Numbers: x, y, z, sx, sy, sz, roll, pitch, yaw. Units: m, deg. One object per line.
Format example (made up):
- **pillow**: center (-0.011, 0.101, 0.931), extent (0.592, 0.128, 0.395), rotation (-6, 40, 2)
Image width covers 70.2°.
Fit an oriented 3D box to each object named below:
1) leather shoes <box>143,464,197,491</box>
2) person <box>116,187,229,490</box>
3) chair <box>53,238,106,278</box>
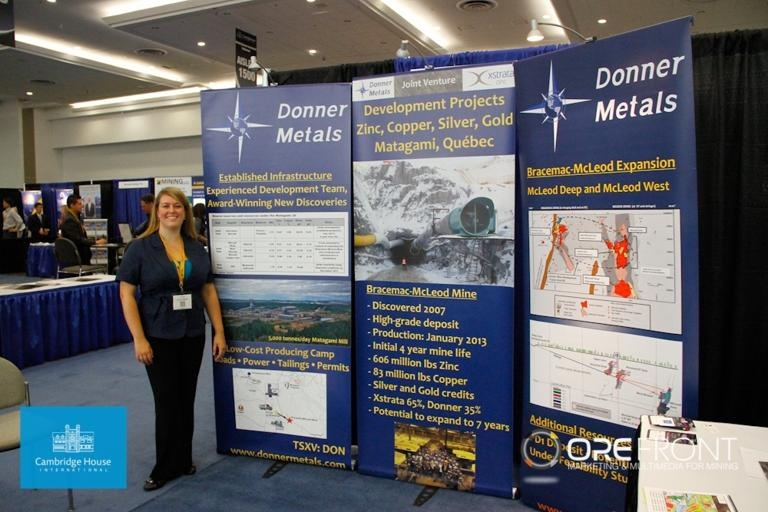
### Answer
- **leather shoes**: center (-1.534, 1.596, 3.977), extent (0.340, 0.091, 0.117), rotation (3, -12, -44)
- **person**: center (-1.537, 0.567, 3.967), extent (0.676, 2.065, 0.424), rotation (-11, 16, -37)
- **chair**: center (-4.811, 0.189, 8.931), extent (0.535, 0.861, 0.482), rotation (-11, 10, -41)
